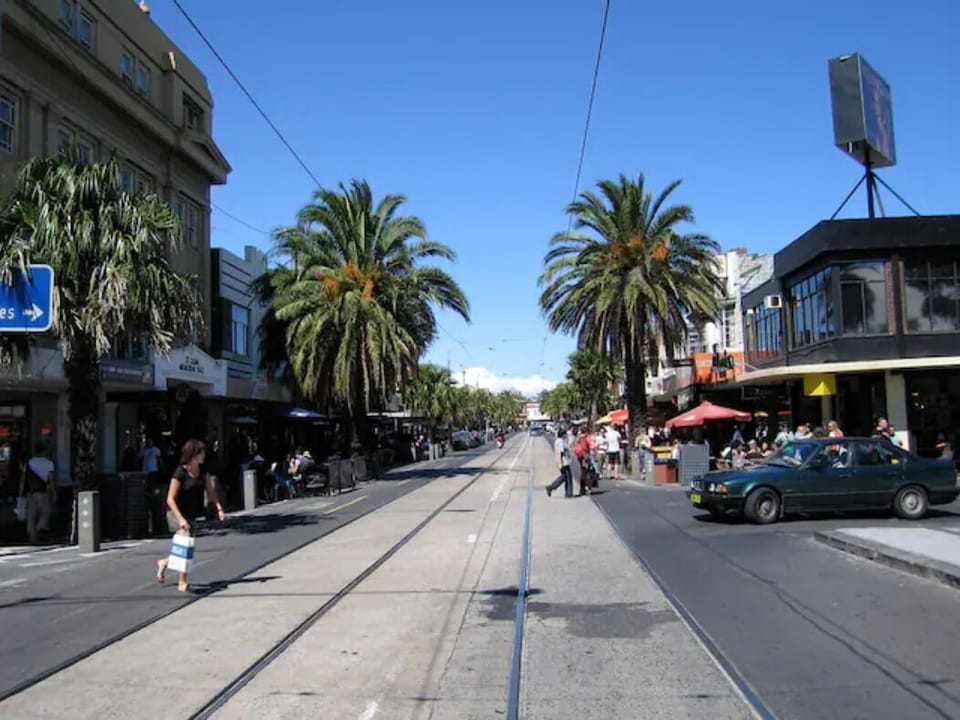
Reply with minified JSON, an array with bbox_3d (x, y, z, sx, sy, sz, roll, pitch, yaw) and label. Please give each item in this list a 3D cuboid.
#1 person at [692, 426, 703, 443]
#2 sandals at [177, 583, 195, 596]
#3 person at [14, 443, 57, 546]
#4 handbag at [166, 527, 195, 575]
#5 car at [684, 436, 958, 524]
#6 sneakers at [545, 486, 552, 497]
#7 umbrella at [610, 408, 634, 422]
[{"bbox_3d":[10.692,3.593,36.727,0.316,1.229,0.261,6,26,19],"label":"person"},{"bbox_3d":[-4.295,3.368,11.068,0.319,0.176,0.118,8,0,-13],"label":"sandals"},{"bbox_3d":[-10.122,3.019,17.130,0.693,2.246,1.300,0,-2,-34],"label":"person"},{"bbox_3d":[-4.432,2.854,11.075,0.326,0.659,0.450,0,-2,-30],"label":"handbag"},{"bbox_3d":[7.533,2.585,16.335,5.232,1.439,0.980,-2,-2,-2],"label":"car"},{"bbox_3d":[2.161,4.043,23.206,0.153,0.319,0.271,2,-18,-11],"label":"sneakers"},{"bbox_3d":[8.646,3.479,46.213,0.853,0.856,5.955,-2,-3,13],"label":"umbrella"}]
